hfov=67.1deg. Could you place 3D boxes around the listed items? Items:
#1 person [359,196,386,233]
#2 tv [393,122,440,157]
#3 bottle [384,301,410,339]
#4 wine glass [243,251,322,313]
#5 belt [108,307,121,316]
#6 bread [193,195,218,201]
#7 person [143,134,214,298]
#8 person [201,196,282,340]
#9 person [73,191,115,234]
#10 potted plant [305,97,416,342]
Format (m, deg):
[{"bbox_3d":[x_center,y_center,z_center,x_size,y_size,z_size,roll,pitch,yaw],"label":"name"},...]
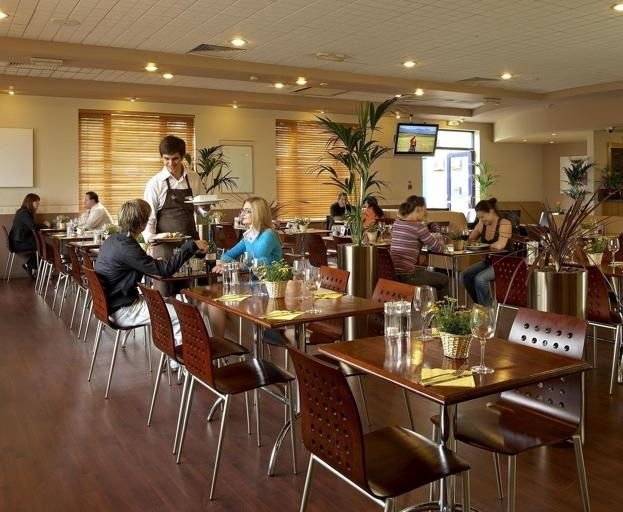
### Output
[{"bbox_3d":[1.120,-0.722,8.792,0.402,0.683,0.418,1,6,-25],"label":"person"},{"bbox_3d":[2.560,-2.869,11.593,1.268,0.802,0.117,0,9,-7],"label":"tv"},{"bbox_3d":[0.356,0.251,1.930,0.097,0.142,0.243,0,7,10],"label":"bottle"},{"bbox_3d":[-0.133,0.158,3.059,0.204,0.242,0.660,-4,8,-34],"label":"wine glass"},{"bbox_3d":[-1.537,0.426,3.663,0.076,0.063,0.063,-8,-12,40],"label":"belt"},{"bbox_3d":[-0.953,-0.523,4.240,0.122,0.026,0.124,2,3,39],"label":"bread"},{"bbox_3d":[-1.279,-0.273,4.633,0.668,1.629,0.600,-11,20,-31],"label":"person"},{"bbox_3d":[-0.555,0.077,4.099,0.764,1.065,0.439,-9,6,-30],"label":"person"},{"bbox_3d":[-3.911,-0.623,8.620,0.675,1.008,0.485,-8,19,-30],"label":"person"},{"bbox_3d":[0.514,-0.778,5.262,1.338,2.160,1.019,6,13,41],"label":"potted plant"}]
